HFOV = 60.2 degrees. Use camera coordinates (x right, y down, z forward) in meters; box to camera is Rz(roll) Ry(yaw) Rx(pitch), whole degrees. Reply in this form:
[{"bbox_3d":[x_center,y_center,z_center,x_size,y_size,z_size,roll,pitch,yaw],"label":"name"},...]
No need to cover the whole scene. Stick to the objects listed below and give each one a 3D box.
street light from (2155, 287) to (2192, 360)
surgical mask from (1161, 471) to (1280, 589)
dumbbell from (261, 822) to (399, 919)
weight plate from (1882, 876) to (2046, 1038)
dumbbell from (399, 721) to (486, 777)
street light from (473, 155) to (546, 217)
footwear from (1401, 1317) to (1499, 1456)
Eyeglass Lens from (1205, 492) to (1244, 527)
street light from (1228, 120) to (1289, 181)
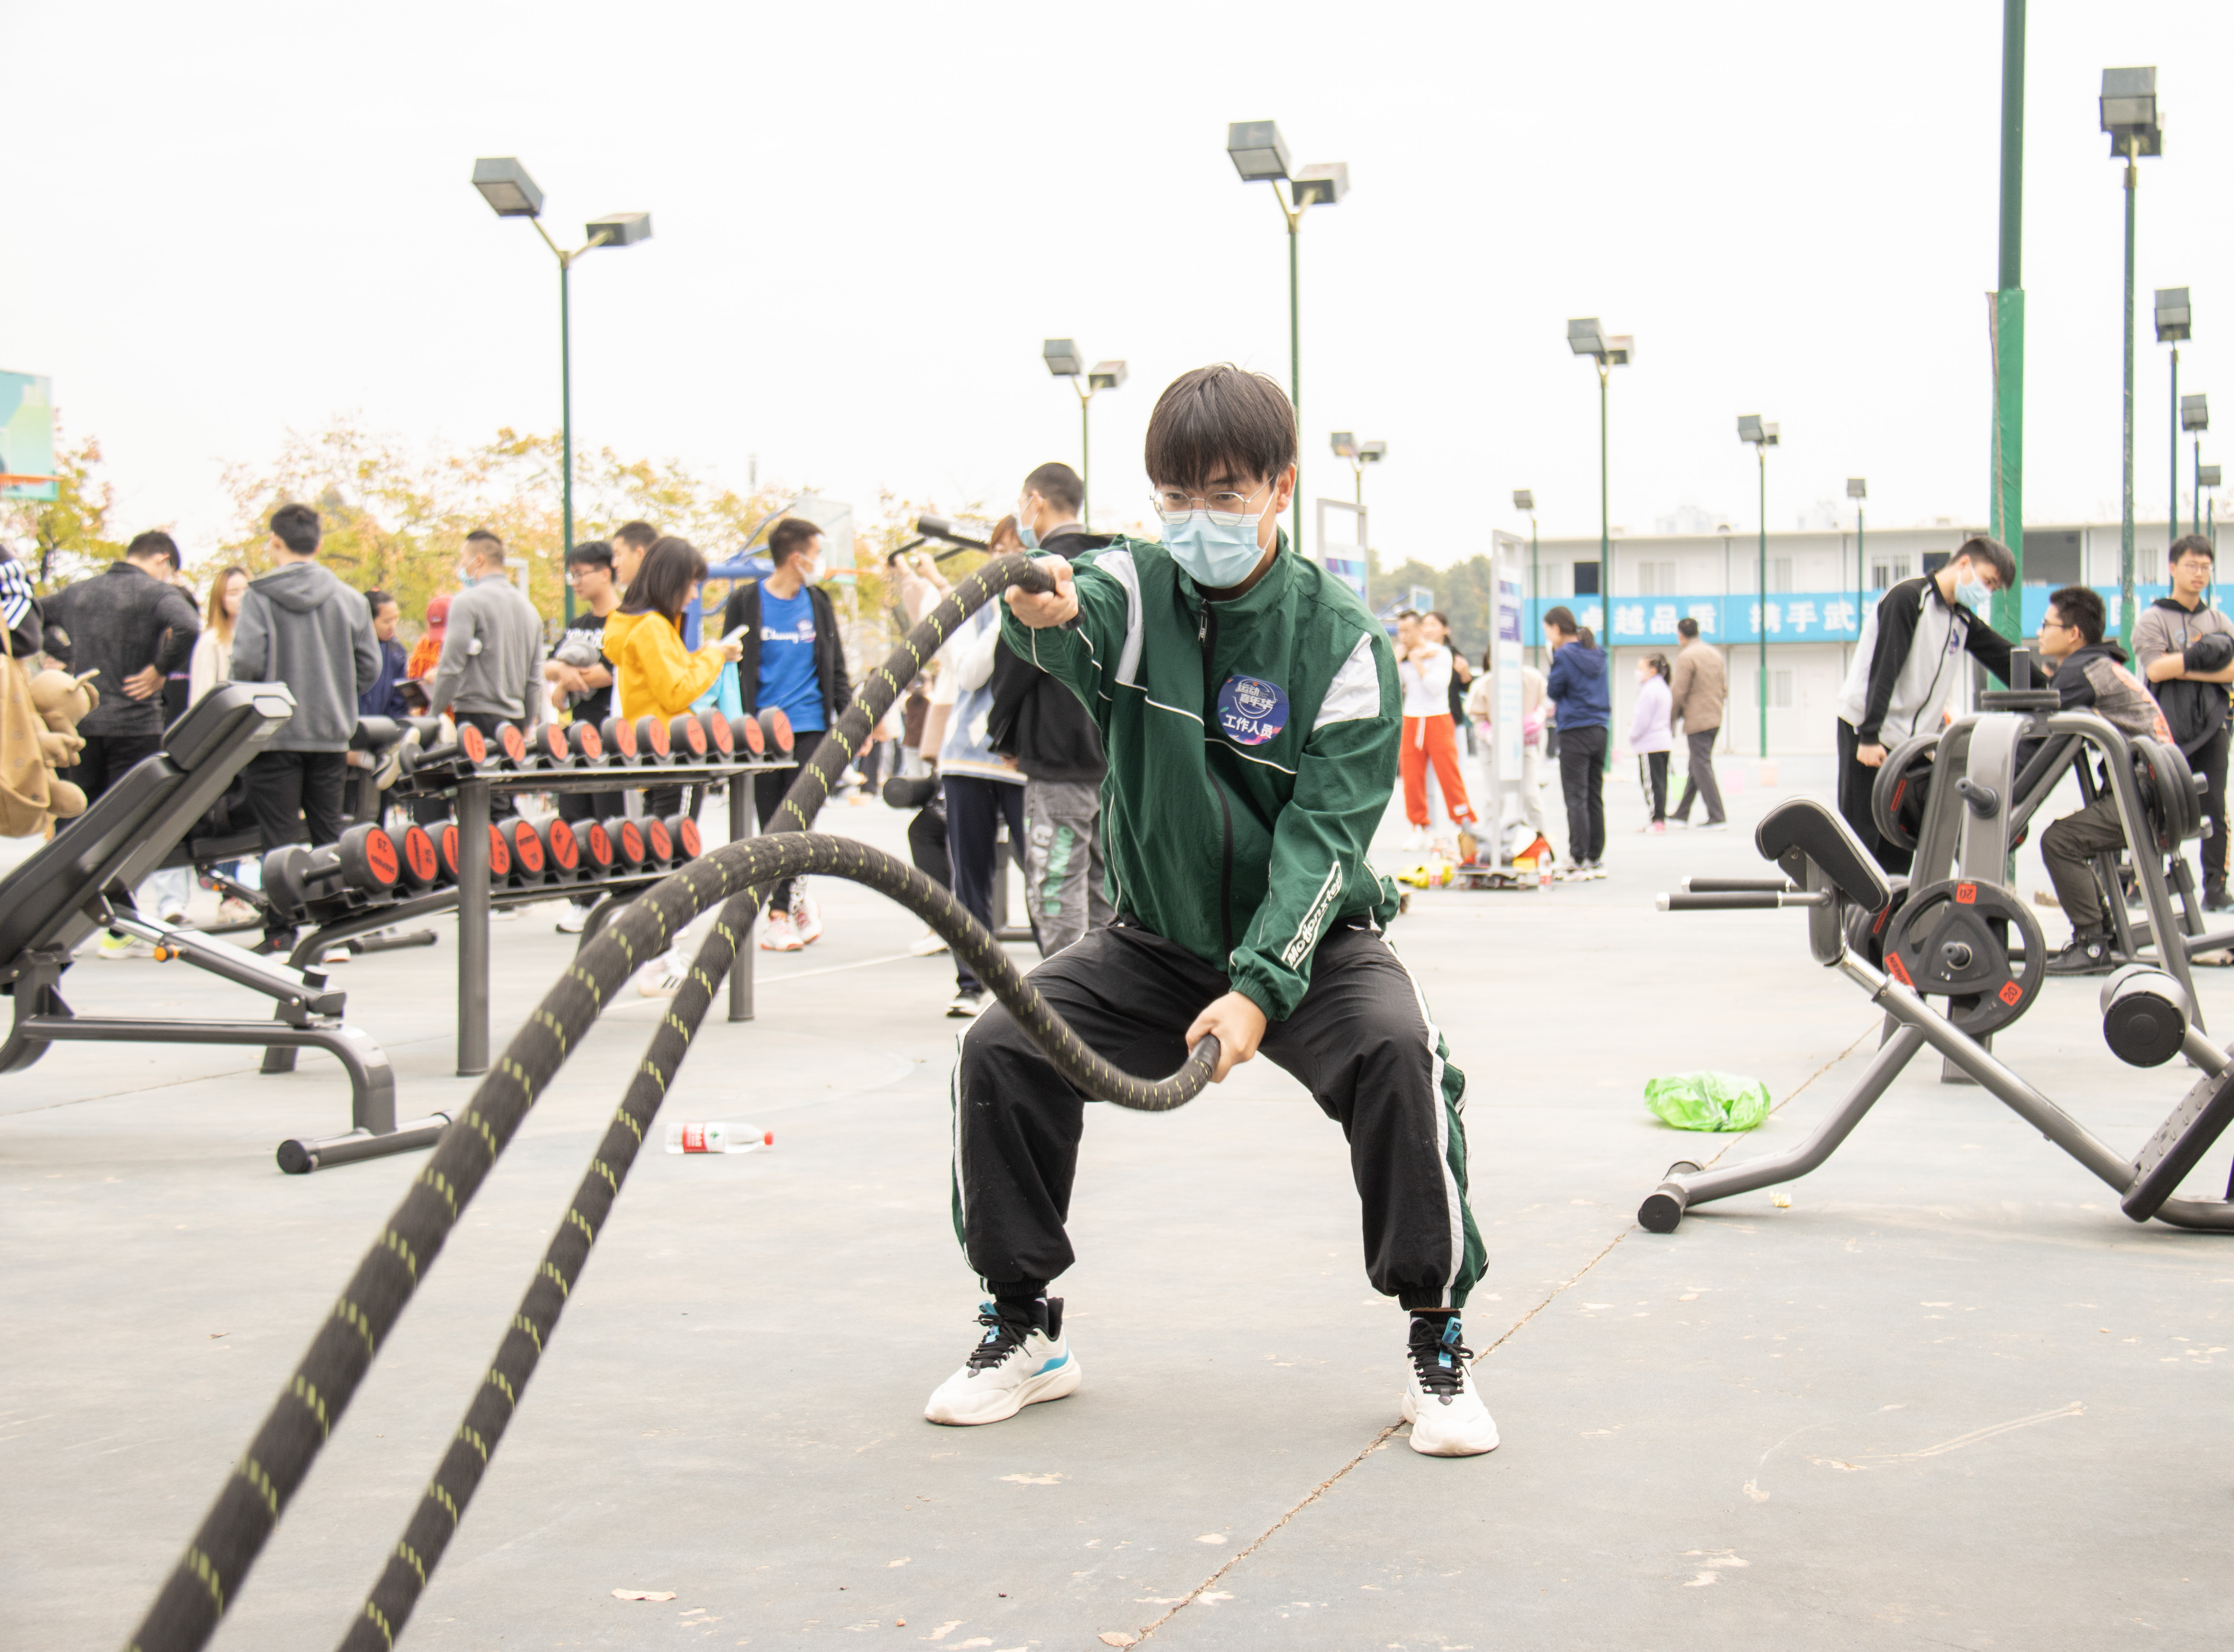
[{"bbox_3d":[16.332,-7.896,29.853,0.415,0.762,0.877,3,9,32],"label":"street light"},{"bbox_3d":[0.215,-0.551,3.546,0.172,0.134,0.219,6,1,13],"label":"surgical mask"},{"bbox_3d":[-2.594,0.156,6.341,0.422,0.302,0.309,-13,-15,16],"label":"dumbbell"},{"bbox_3d":[2.177,0.336,4.973,0.380,0.414,0.113,2,-12,42],"label":"weight plate"},{"bbox_3d":[-2.315,-0.269,6.568,0.157,0.148,0.396,-1,-4,-39],"label":"dumbbell"},{"bbox_3d":[-5.962,-6.206,18.799,0.588,0.514,0.672,-2,8,-1],"label":"street light"},{"bbox_3d":[0.613,1.013,3.560,0.179,0.229,0.174,-1,8,12],"label":"footwear"},{"bbox_3d":[0.199,-0.572,3.473,0.068,0.059,0.022,-3,8,-7],"label":"Eyeglass Lens"},{"bbox_3d":[1.370,-6.528,18.749,0.552,0.474,0.683,-1,8,8],"label":"street light"}]
